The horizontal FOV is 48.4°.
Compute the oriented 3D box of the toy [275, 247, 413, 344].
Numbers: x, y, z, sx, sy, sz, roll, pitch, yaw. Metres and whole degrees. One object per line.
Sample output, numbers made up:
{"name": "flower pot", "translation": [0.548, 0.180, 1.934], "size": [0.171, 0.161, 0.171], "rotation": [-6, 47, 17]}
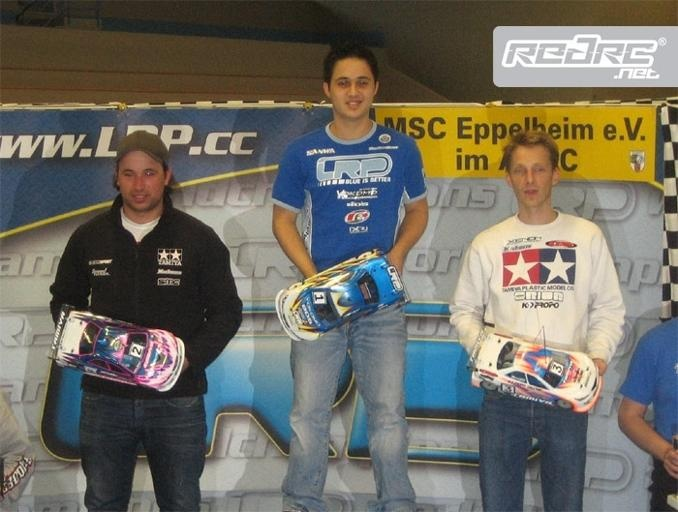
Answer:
{"name": "toy", "translation": [0.020, 0.186, 3.695], "size": [0.645, 0.343, 0.186], "rotation": [-21, 12, -2]}

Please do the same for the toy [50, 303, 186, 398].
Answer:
{"name": "toy", "translation": [-1.110, 0.474, 3.858], "size": [0.674, 0.334, 0.182], "rotation": [11, -1, 1]}
